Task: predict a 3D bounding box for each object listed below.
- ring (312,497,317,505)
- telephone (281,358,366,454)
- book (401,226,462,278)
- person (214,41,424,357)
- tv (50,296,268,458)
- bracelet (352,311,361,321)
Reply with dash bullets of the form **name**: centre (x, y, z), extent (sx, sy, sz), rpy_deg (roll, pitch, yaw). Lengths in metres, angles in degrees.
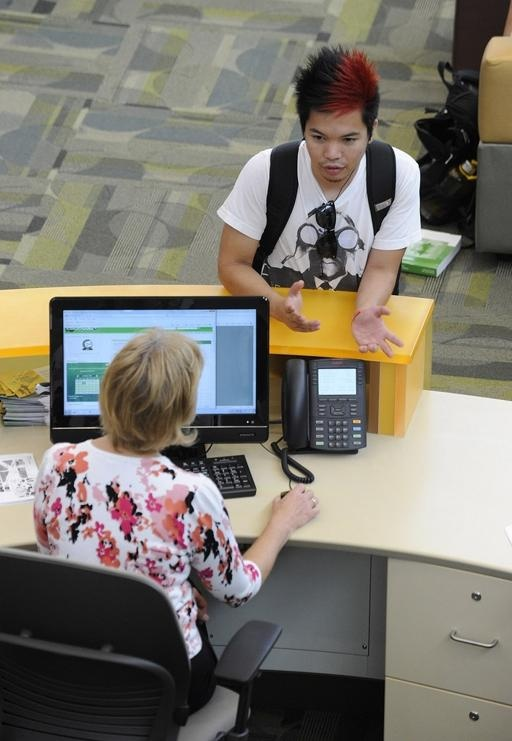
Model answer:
- **ring**: centre (0.141, 0.309, 1.547), extent (0.011, 0.004, 0.014), rpy_deg (8, 46, -18)
- **telephone**: centre (0.183, 0.088, 1.717), extent (0.210, 0.230, 0.063), rpy_deg (-1, 8, -1)
- **book**: centre (1.095, -0.732, 3.952), extent (0.425, 0.095, 0.399), rpy_deg (17, 45, 27)
- **person**: centre (0.149, -0.507, 1.917), extent (0.647, 0.843, 0.546), rpy_deg (-1, 11, 14)
- **tv**: centre (-0.222, -0.011, 1.399), extent (0.417, 0.290, 0.112), rpy_deg (0, 5, -4)
- **bracelet**: centre (0.276, -0.153, 1.784), extent (0.021, 0.028, 0.071), rpy_deg (-3, 10, 5)
